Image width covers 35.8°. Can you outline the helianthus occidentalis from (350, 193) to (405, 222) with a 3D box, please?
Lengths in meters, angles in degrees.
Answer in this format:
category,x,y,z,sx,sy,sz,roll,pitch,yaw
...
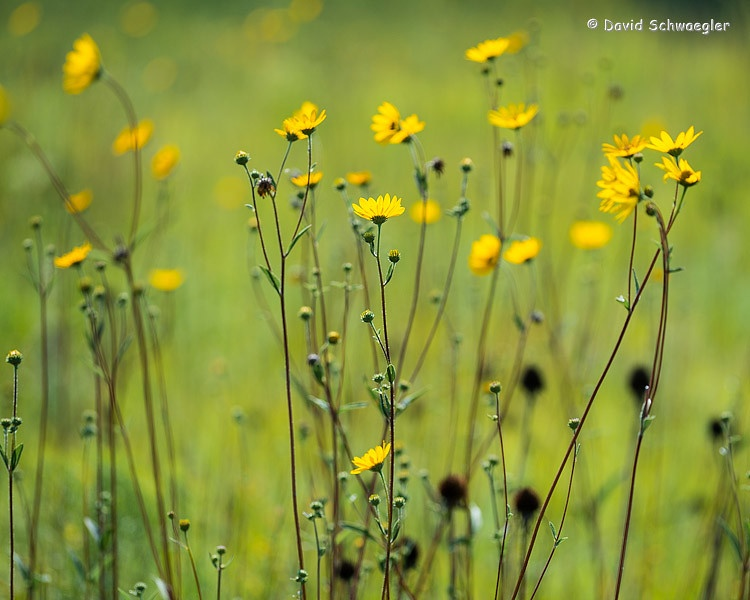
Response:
category,x,y,z,sx,sy,sz,roll,pitch,yaw
helianthus occidentalis,0.002,-0.279,3.527,0.142,0.088,0.206,1,6,-8

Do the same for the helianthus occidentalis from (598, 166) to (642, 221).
category,x,y,z,sx,sy,sz,roll,pitch,yaw
helianthus occidentalis,0.744,-0.343,3.497,0.051,0.178,0.147,-2,-23,-18

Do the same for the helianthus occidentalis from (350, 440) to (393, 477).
category,x,y,z,sx,sy,sz,roll,pitch,yaw
helianthus occidentalis,-0.012,0.482,3.495,0.112,0.120,0.159,2,5,0

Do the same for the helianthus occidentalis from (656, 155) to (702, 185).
category,x,y,z,sx,sy,sz,roll,pitch,yaw
helianthus occidentalis,0.924,-0.391,3.540,0.117,0.087,0.222,3,6,16

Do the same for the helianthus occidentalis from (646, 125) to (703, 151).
category,x,y,z,sx,sy,sz,roll,pitch,yaw
helianthus occidentalis,0.914,-0.499,3.587,0.138,0.088,0.310,3,6,16

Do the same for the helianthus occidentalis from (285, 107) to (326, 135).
category,x,y,z,sx,sy,sz,roll,pitch,yaw
helianthus occidentalis,-0.213,-0.542,3.515,0.085,0.115,0.051,-11,-42,35
